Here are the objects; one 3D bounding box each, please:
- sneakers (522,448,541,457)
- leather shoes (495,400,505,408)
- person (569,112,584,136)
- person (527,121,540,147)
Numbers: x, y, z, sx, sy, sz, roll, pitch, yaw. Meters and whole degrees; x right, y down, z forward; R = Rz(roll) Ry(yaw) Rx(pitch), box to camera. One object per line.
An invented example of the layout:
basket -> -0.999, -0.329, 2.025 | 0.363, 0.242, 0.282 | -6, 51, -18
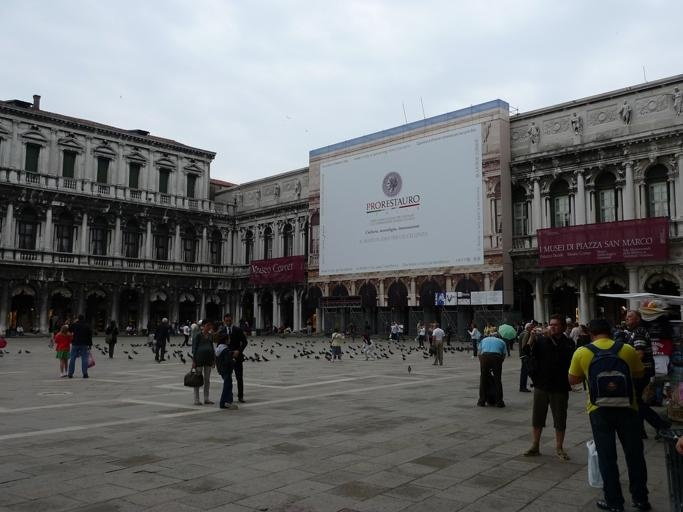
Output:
sneakers -> 3.076, 3.180, 10.432 | 0.247, 0.101, 0.118 | 4, -14, -11
leather shoes -> 3.582, 3.352, 14.635 | 0.204, 0.202, 0.126 | 8, -9, 6
person -> 14.635, -8.270, 40.096 | 0.724, 1.488, 0.322 | -8, -9, 42
person -> 12.573, -8.102, 42.242 | 0.742, 1.627, 0.332 | -8, -10, 42
